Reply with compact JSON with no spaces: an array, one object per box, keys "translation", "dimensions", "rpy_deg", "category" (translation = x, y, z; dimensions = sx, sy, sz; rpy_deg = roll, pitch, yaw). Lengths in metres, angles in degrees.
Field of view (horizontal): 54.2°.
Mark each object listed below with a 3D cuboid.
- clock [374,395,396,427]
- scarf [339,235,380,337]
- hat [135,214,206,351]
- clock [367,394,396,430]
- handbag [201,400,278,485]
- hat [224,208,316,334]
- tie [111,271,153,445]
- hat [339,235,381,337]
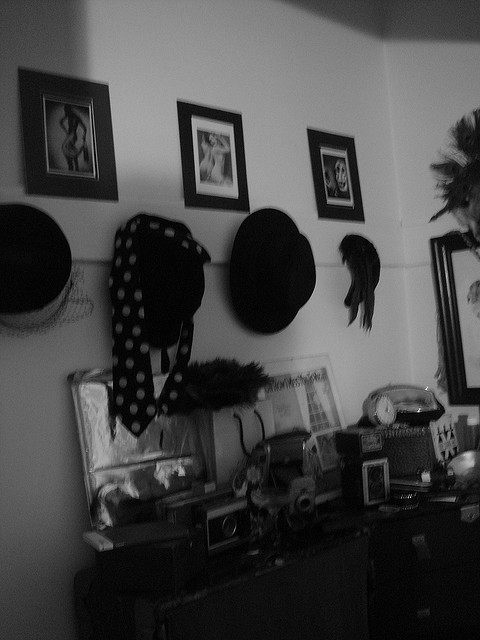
[{"translation":[0.457,0.286,1.485],"dimensions":[0.015,0.086,0.059],"rpy_deg":[-14,-8,38],"category":"clock"},{"translation":[0.388,-0.108,1.646],"dimensions":[0.128,0.319,0.114],"rpy_deg":[17,-3,-12],"category":"scarf"},{"translation":[-0.161,-0.078,1.050],"dimensions":[0.043,0.305,0.158],"rpy_deg":[1,2,18],"category":"hat"},{"translation":[0.462,0.285,1.489],"dimensions":[0.129,0.065,0.113],"rpy_deg":[-10,4,-22],"category":"clock"},{"translation":[0.008,0.291,1.183],"dimensions":[0.247,0.172,0.031],"rpy_deg":[-11,6,-41],"category":"handbag"},{"translation":[0.064,-0.139,1.286],"dimensions":[0.224,0.381,0.062],"rpy_deg":[22,-18,-41],"category":"hat"},{"translation":[-0.220,0.043,0.971],"dimensions":[0.069,0.533,0.019],"rpy_deg":[1,31,-9],"category":"tie"},{"translation":[0.391,-0.124,1.648],"dimensions":[0.128,0.319,0.114],"rpy_deg":[17,-3,-13],"category":"hat"}]
